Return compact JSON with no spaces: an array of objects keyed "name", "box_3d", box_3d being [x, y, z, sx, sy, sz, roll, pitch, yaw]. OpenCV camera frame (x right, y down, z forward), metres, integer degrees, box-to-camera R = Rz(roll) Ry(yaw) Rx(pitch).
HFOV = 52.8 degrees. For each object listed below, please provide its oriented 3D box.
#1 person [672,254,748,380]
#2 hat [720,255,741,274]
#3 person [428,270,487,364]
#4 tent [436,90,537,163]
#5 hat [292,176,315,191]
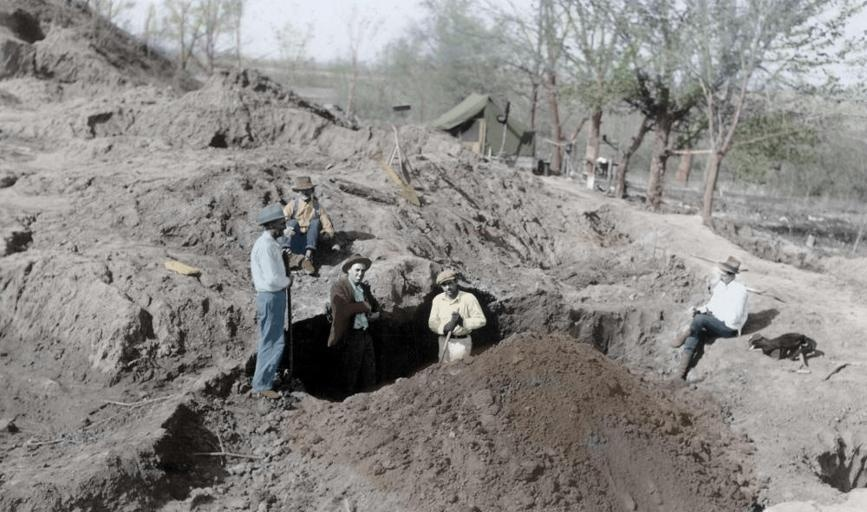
[{"name":"person","box_3d":[7.170,1.612,22.333,1.551,3.226,0.936,9,15,16]},{"name":"hat","box_3d":[7.545,0.163,22.275,0.527,0.233,0.601,23,5,-4]},{"name":"person","box_3d":[0.557,1.614,21.577,1.294,2.353,0.957,7,15,11]},{"name":"tent","box_3d":[2.508,-5.779,37.525,3.539,1.982,3.748,10,15,-1]},{"name":"hat","box_3d":[-3.370,-1.957,22.878,0.517,0.270,0.614,-10,-8,-1]}]
